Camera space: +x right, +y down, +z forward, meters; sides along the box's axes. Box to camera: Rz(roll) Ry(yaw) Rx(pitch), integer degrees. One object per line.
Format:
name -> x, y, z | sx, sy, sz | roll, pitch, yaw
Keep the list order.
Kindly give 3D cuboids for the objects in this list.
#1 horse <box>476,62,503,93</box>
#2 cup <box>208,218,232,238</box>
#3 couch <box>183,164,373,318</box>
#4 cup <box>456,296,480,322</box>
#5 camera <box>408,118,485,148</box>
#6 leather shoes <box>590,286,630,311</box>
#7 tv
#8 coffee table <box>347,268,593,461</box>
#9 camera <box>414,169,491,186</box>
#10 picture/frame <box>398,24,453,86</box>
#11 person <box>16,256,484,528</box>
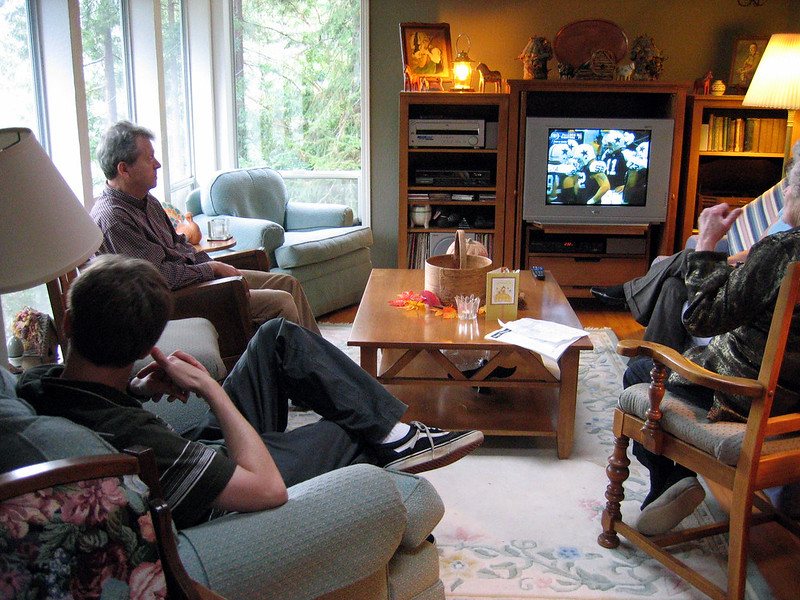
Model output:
horse -> 0.706, -1.743, 4.787 | 0.188, 0.230, 0.459 | 2, 14, 10
cup -> -1.123, -0.444, 3.776 | 0.128, 0.115, 0.129 | 1, 13, 0
couch -> -0.929, -0.506, 4.571 | 1.177, 1.257, 1.274 | 10, 19, 20
cup -> 0.306, 0.035, 2.786 | 0.102, 0.087, 0.101 | 0, 9, 0
camera -> 0.355, -1.281, 4.657 | 0.576, 0.221, 0.061 | 1, 14, 2
leather shoes -> 1.333, -0.014, 3.853 | 0.221, 0.112, 0.071 | 20, 52, 24
tv -> 1.481, -0.980, 4.780 | 1.262, 0.921, 0.716 | 1, 17, 3
coffee table -> 0.298, 0.322, 2.741 | 0.752, 0.406, 1.013 | 0, 25, -2
camera -> 0.411, -0.959, 4.769 | 0.585, 0.126, 0.122 | 0, 14, 1
picture/frame -> 0.208, -1.921, 4.735 | 0.521, 0.610, 0.098 | -2, 11, -2
person -> -0.373, 0.249, 1.670 | 1.184, 0.709, 0.590 | -8, 22, -38
